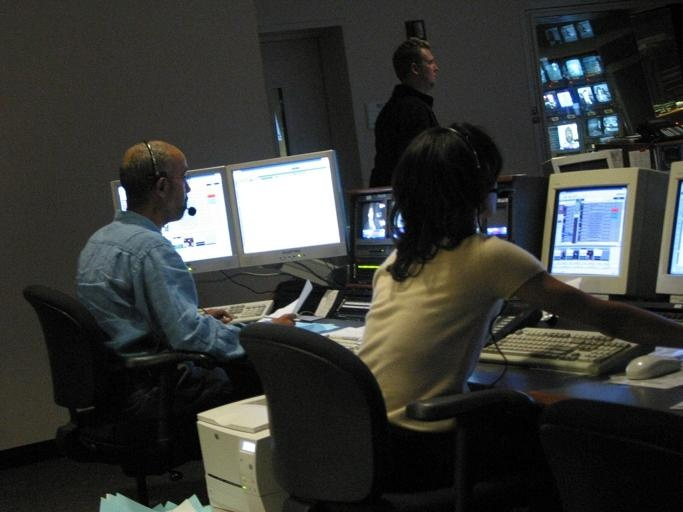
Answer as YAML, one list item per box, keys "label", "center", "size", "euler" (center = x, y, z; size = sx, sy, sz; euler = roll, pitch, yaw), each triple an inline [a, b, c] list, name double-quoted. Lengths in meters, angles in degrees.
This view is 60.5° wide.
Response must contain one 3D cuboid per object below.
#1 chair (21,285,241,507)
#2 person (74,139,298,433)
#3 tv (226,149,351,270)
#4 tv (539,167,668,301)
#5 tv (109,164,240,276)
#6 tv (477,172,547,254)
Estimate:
- label: "chair"
  center: [-0.873, 0.420, 2.575]
  size: [0.784, 0.982, 0.784]
  euler: [-14, 12, -39]
- label: "person"
  center: [-0.665, 0.219, 2.539]
  size: [0.940, 1.329, 0.718]
  euler: [-8, 16, -41]
- label: "tv"
  center: [-0.302, -0.246, 3.021]
  size: [0.685, 0.530, 0.076]
  euler: [-13, 11, -39]
- label: "tv"
  center: [1.050, -0.083, 2.322]
  size: [0.321, 0.453, 0.392]
  euler: [0, 4, -45]
- label: "tv"
  center: [-0.726, -0.164, 2.641]
  size: [0.600, 0.467, 0.058]
  euler: [-10, 1, 1]
- label: "tv"
  center: [0.727, -0.156, 2.489]
  size: [0.247, 0.312, 0.216]
  euler: [-1, 1, -24]
